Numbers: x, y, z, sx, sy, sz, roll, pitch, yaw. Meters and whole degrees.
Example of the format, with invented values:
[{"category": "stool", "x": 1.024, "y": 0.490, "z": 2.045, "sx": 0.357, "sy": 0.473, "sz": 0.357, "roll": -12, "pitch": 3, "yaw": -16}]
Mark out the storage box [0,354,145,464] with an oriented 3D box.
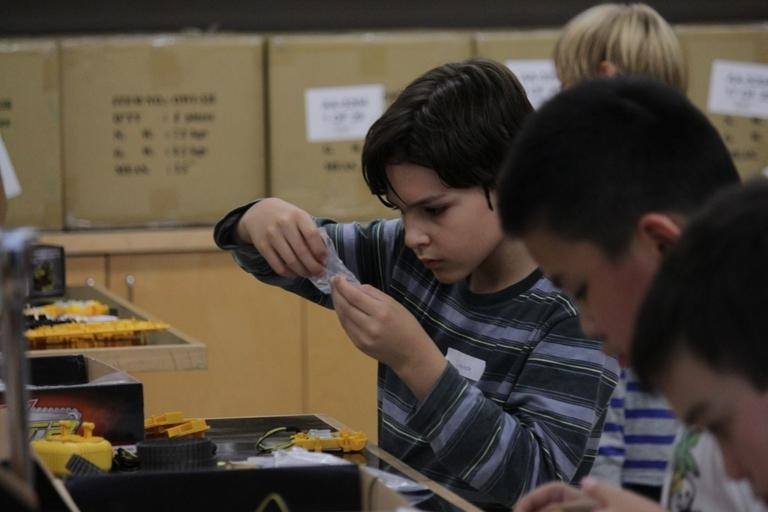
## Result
[{"category": "storage box", "x": -0.549, "y": 0.272, "z": 1.689, "sx": 0.177, "sy": 0.083, "sz": 0.187, "roll": 1, "pitch": -1, "yaw": 3}]
